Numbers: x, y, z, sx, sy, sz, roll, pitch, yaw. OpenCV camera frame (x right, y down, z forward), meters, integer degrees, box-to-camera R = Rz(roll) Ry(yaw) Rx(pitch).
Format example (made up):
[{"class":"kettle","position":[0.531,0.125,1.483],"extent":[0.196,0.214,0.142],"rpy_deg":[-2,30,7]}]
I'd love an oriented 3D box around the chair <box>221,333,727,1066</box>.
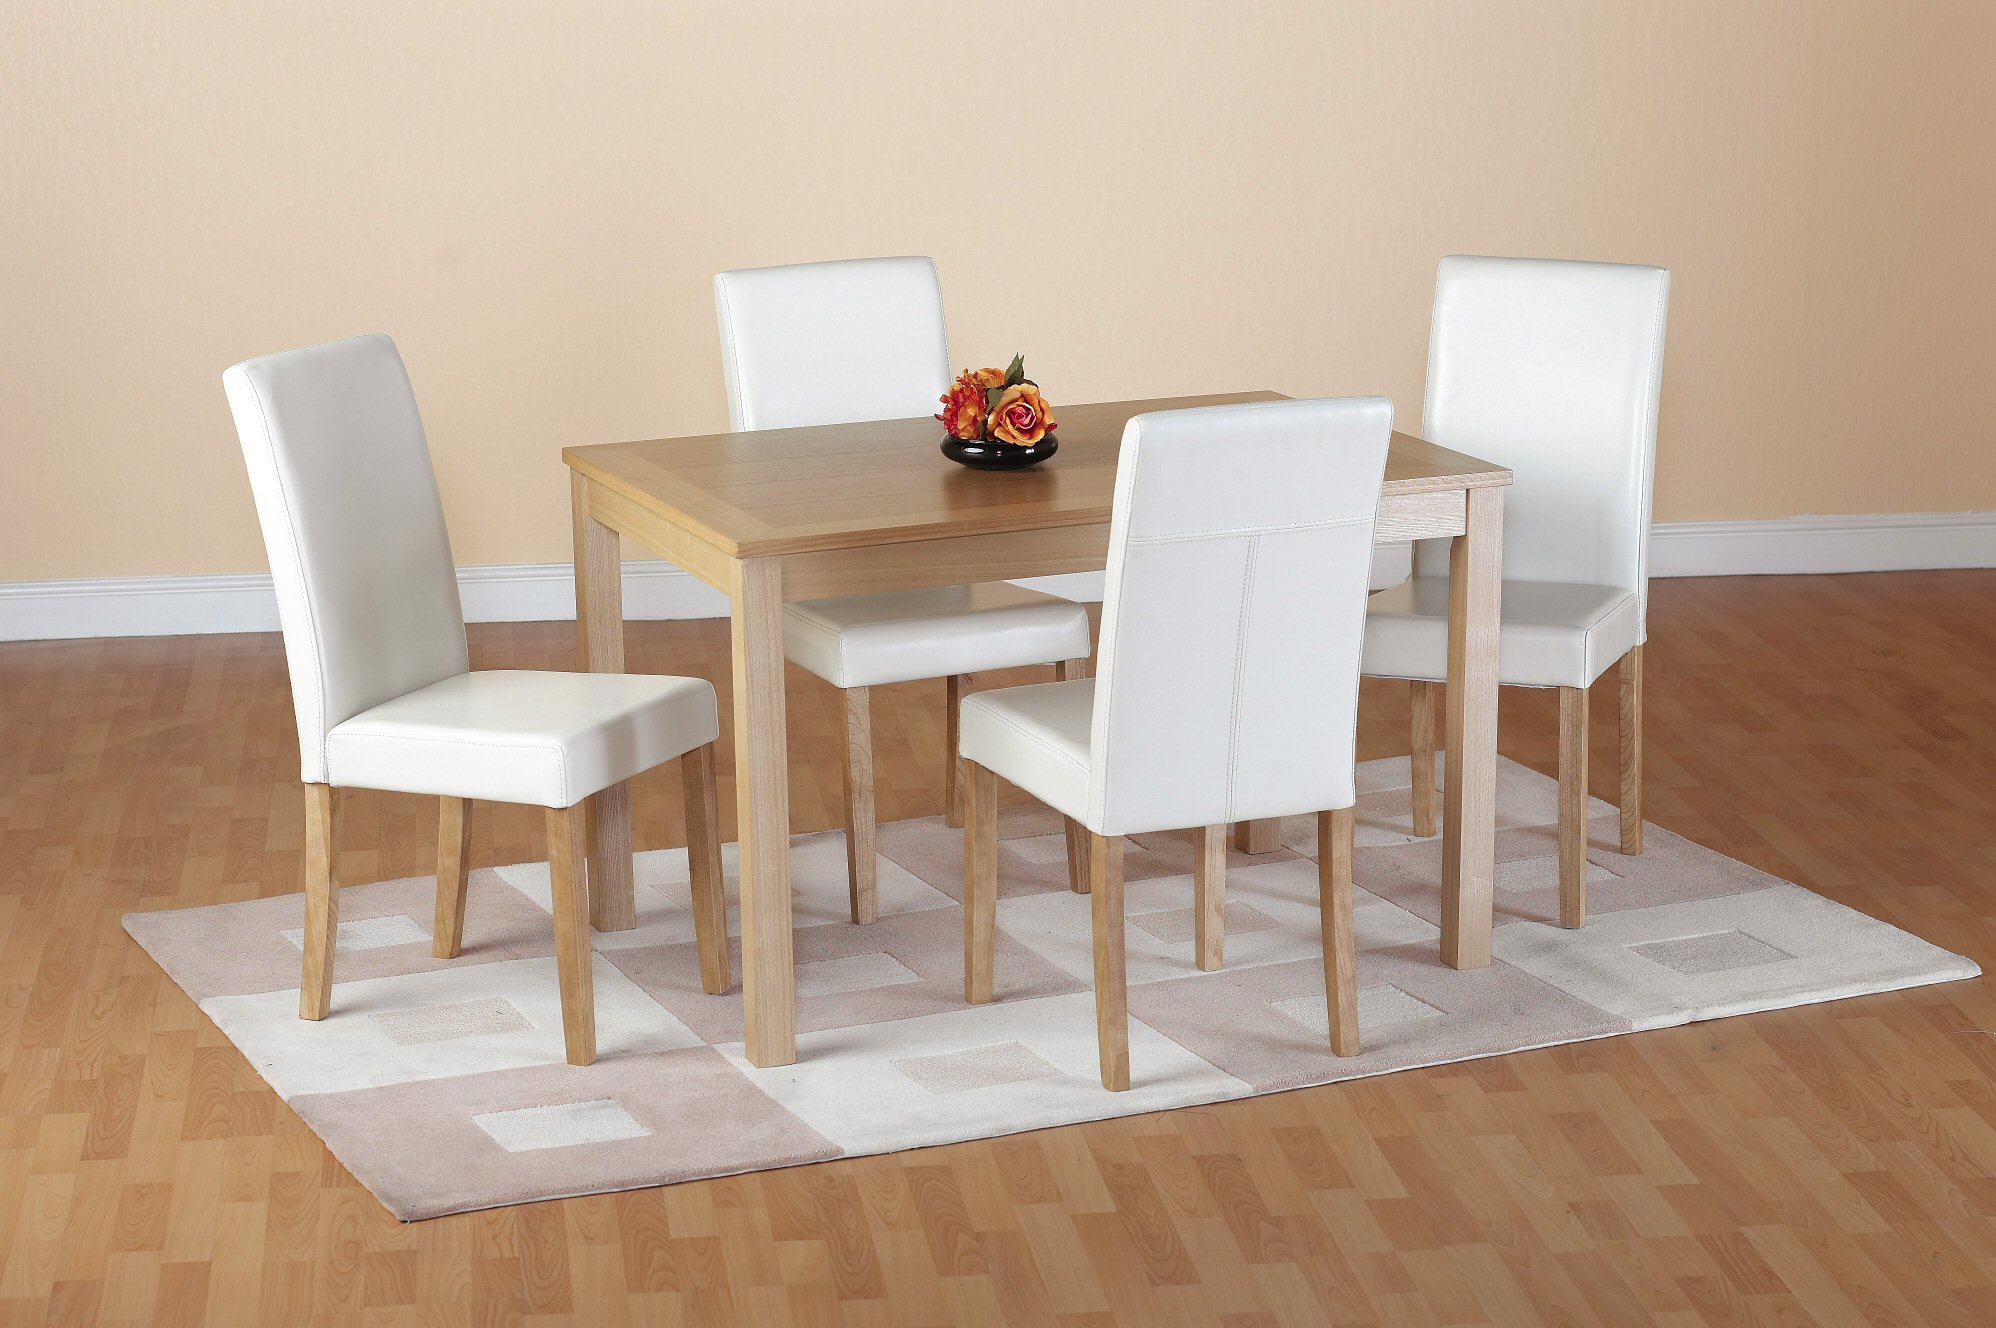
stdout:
[{"class":"chair","position":[-0.979,0.067,2.956],"extent":[0.893,1.174,0.648],"rpy_deg":[14,28,27]}]

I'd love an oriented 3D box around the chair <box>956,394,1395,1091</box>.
[{"class":"chair","position":[0.312,0.125,2.810],"extent":[0.759,1.158,0.581],"rpy_deg":[0,25,-2]}]

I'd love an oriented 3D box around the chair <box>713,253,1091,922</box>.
[{"class":"chair","position":[-0.100,-0.122,3.627],"extent":[0.809,1.092,0.554],"rpy_deg":[-8,15,-26]}]
